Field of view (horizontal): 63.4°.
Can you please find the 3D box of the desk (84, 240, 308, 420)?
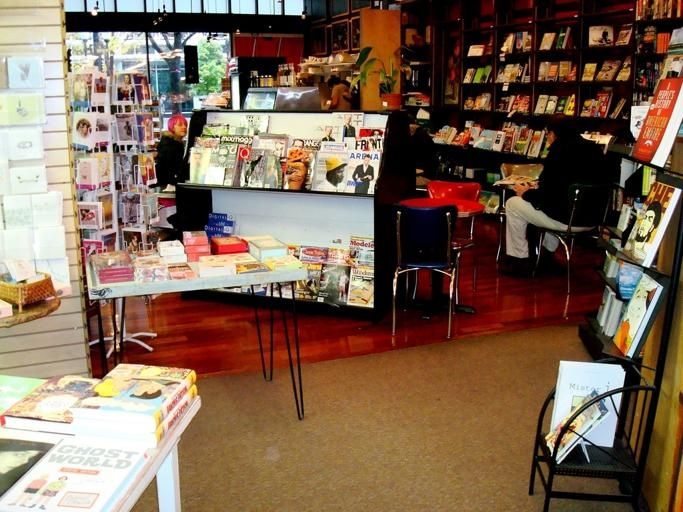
[{"bbox_3d":[-0.949,0.575,3.672,1.335,0.944,0.825,-3,6,-25],"label":"desk"}]
